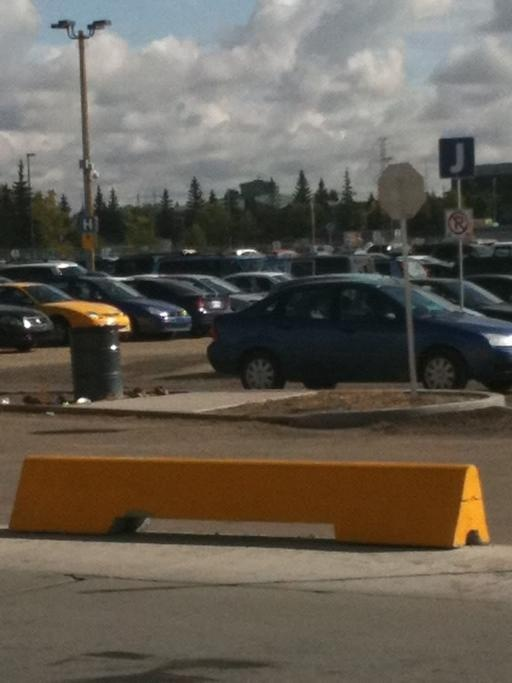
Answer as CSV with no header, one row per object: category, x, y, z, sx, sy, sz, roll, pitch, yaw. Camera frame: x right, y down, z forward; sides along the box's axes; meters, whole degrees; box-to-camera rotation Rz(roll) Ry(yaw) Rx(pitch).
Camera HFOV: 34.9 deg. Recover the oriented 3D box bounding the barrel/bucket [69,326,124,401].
barrel/bucket,-2.377,0.258,12.128,0.708,0.871,0.482,-3,1,-11
